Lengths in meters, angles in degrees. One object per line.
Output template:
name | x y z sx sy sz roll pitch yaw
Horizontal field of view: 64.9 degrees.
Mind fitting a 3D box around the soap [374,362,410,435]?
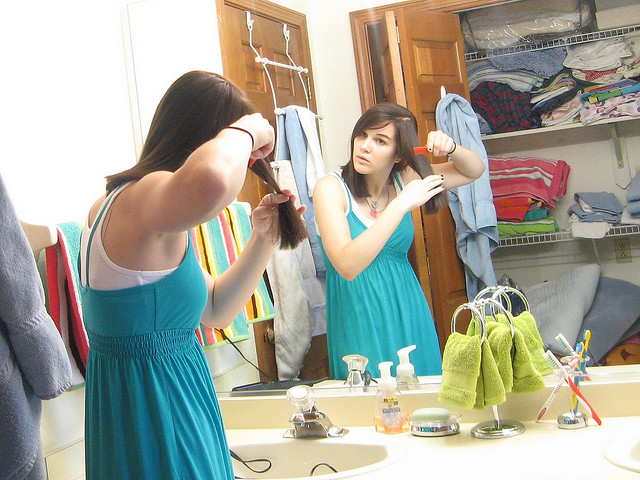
soap | 0.188 0.425 1.345 0.090 0.178 0.071 -4 -17 -1

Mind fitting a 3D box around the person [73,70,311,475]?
person | -0.269 0.076 0.987 0.466 0.779 0.352 -4 10 6

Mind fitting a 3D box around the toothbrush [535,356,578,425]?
toothbrush | 0.580 0.370 1.227 0.016 0.191 0.026 28 9 -31

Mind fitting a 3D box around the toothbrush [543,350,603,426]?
toothbrush | 0.623 0.370 1.235 0.030 0.213 0.017 -40 8 -18

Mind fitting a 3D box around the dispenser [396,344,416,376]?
dispenser | 0.237 0.332 1.373 0.043 0.062 0.080 -4 6 31

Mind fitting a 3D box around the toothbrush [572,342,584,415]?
toothbrush | 0.628 0.340 1.217 0.009 0.166 0.018 6 -3 3

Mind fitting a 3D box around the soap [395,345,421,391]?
soap | 0.250 0.374 1.417 0.054 0.135 0.067 -10 4 24
